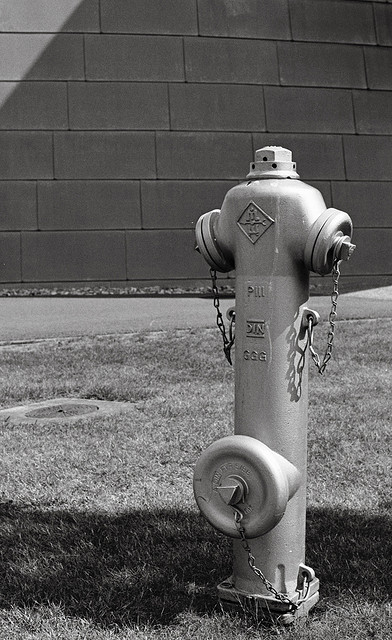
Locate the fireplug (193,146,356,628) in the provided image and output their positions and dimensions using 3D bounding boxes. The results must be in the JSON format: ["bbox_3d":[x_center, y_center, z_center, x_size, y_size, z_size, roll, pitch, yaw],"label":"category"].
[{"bbox_3d":[0.293,0.282,4.663,0.633,1.912,0.370,-1,5,7],"label":"fireplug"}]
